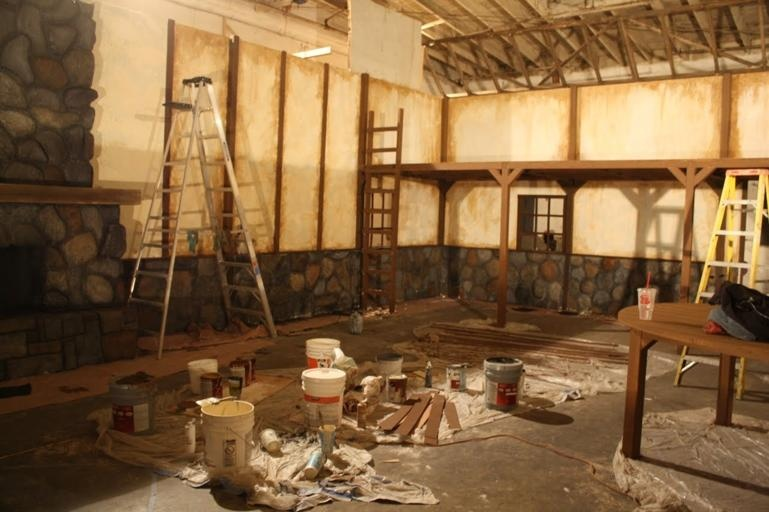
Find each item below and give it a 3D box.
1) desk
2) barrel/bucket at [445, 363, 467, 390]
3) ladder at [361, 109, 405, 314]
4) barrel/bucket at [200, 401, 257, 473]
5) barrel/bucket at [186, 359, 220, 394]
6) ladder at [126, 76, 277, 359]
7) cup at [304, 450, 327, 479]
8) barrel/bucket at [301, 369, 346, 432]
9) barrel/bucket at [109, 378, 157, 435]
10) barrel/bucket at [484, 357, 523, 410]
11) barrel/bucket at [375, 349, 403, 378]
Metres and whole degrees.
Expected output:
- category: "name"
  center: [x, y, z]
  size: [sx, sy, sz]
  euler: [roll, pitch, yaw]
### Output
- category: "desk"
  center: [3.617, 1.203, 6.656]
  size: [1.853, 1.251, 1.805]
  euler: [1, 1, -41]
- category: "barrel/bucket"
  center: [1.000, 1.685, 8.240]
  size: [0.249, 0.346, 0.261]
  euler: [1, 8, 0]
- category: "ladder"
  center: [-0.091, -0.956, 12.701]
  size: [0.841, 4.210, 1.703]
  euler: [1, 8, -1]
- category: "barrel/bucket"
  center: [-1.664, 2.023, 6.476]
  size: [0.627, 0.589, 0.608]
  euler: [-1, -8, 0]
- category: "barrel/bucket"
  center: [-2.446, 1.605, 7.905]
  size: [0.416, 0.395, 0.415]
  euler: [0, -4, 0]
- category: "ladder"
  center: [-3.031, -0.785, 9.975]
  size: [2.391, 4.353, 1.182]
  euler: [-6, 11, -43]
- category: "cup"
  center: [-0.741, 2.227, 6.388]
  size: [0.238, 0.237, 0.299]
  euler: [-7, 13, 11]
- category: "barrel/bucket"
  center: [-0.648, 1.724, 7.181]
  size: [0.666, 0.636, 0.619]
  euler: [0, 0, 0]
- category: "barrel/bucket"
  center: [-2.914, 1.806, 7.131]
  size: [0.562, 0.555, 0.567]
  euler: [0, -2, 0]
- category: "barrel/bucket"
  center: [1.544, 1.720, 7.859]
  size: [0.573, 0.583, 0.564]
  euler: [2, -2, 0]
- category: "barrel/bucket"
  center: [0.090, 1.509, 8.111]
  size: [0.355, 0.251, 0.415]
  euler: [-1, 8, -17]
